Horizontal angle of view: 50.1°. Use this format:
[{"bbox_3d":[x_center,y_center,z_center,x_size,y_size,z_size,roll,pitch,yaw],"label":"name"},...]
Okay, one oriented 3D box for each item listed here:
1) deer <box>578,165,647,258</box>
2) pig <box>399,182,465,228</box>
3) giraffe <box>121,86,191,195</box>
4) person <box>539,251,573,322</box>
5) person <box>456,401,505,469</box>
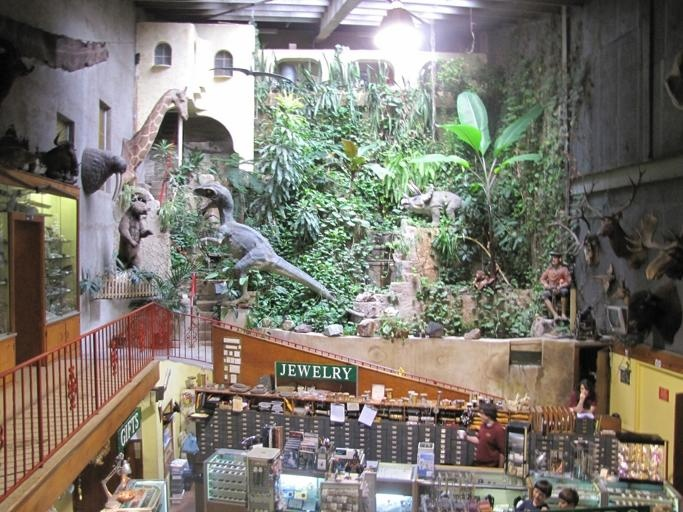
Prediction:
[{"bbox_3d":[4.902,-0.690,13.251,1.219,1.531,0.860,-7,-3,44],"label":"deer"},{"bbox_3d":[2.014,-1.130,15.903,1.389,0.988,0.677,3,-3,13],"label":"pig"},{"bbox_3d":[-3.927,-2.494,15.245,1.207,2.026,0.537,4,-1,-25],"label":"giraffe"},{"bbox_3d":[4.284,0.569,14.551,0.428,1.383,0.600,-2,5,-8],"label":"person"},{"bbox_3d":[2.268,2.840,11.330,0.622,0.999,0.488,3,2,21],"label":"person"}]
